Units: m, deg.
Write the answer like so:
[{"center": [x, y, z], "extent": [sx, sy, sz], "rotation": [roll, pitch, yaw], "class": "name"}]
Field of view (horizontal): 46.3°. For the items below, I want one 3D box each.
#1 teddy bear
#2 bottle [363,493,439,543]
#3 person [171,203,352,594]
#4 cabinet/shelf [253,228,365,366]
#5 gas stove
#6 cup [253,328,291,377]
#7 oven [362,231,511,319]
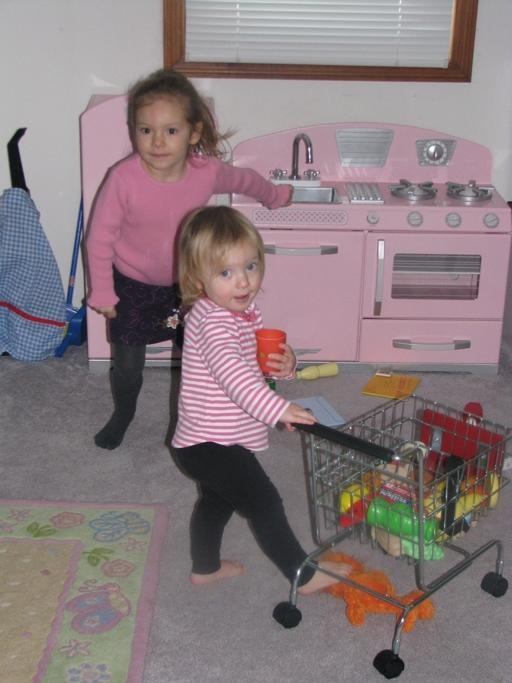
[{"center": [0.263, 0.568, 1.363], "extent": [0.204, 0.086, 0.289], "rotation": [3, -2, -41], "class": "teddy bear"}, {"center": [0.272, 0.346, 1.173], "extent": [0.153, 0.079, 0.057], "rotation": [6, 5, 19], "class": "bottle"}, {"center": [0.003, 0.194, 1.281], "extent": [0.330, 0.895, 0.494], "rotation": [-8, 28, -20], "class": "person"}, {"center": [0.117, -0.222, 2.791], "extent": [0.586, 0.720, 0.529], "rotation": [0, 14, 2], "class": "cabinet/shelf"}, {"center": [0.840, -0.693, 2.716], "extent": [0.454, 0.076, 0.370], "rotation": [6, 24, 10], "class": "gas stove"}, {"center": [0.027, 0.017, 1.326], "extent": [0.102, 0.104, 0.090], "rotation": [-5, 21, -9], "class": "cup"}, {"center": [0.773, -0.302, 2.645], "extent": [0.664, 0.372, 0.395], "rotation": [1, 19, 2], "class": "oven"}]
